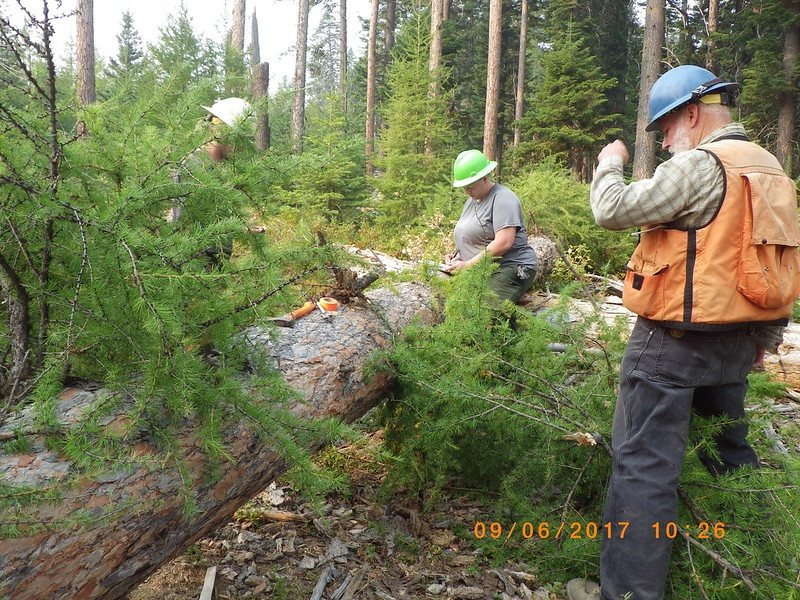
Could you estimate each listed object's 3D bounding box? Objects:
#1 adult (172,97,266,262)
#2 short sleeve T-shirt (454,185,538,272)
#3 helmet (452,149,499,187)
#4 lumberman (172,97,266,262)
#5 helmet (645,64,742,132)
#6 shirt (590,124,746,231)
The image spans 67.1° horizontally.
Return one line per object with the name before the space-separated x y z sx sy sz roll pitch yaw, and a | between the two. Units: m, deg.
adult | -1.073 -0.694 3.463 0.522 0.963 0.778 -4 12 -14
short sleeve T-shirt | 0.824 -0.650 5.584 0.622 0.839 1.024 1 1 -16
helmet | 0.656 -1.189 5.431 0.355 0.198 0.333 -38 28 -8
lumberman | -1.073 -0.694 3.463 0.522 0.963 0.778 -4 12 -14
helmet | 1.628 -1.188 3.464 0.474 0.268 0.397 -21 6 25
shirt | 1.423 -0.568 3.256 0.641 0.315 0.684 0 21 46
